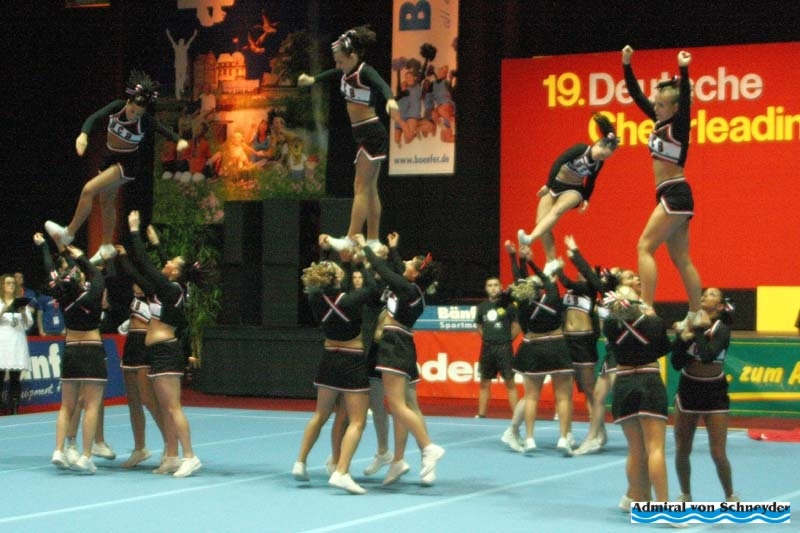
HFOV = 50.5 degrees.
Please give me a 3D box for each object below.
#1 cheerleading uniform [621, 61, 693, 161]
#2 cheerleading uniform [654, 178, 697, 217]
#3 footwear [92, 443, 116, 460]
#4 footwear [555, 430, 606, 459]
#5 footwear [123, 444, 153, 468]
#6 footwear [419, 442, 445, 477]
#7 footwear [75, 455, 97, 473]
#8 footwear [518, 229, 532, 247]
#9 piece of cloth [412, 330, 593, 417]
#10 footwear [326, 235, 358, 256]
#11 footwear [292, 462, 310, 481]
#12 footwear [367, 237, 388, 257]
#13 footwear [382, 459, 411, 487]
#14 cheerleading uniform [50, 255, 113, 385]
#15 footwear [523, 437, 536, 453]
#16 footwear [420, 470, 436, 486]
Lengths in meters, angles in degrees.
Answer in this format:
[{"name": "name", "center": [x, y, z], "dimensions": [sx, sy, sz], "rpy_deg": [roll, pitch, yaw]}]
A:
[{"name": "cheerleading uniform", "center": [3.256, -1.891, 10.479], "dimensions": [0.439, 1.354, 0.901], "rpy_deg": [0, 0, -20]}, {"name": "cheerleading uniform", "center": [3.399, -0.824, 10.594], "dimensions": [0.433, 0.510, 0.773], "rpy_deg": [-1, 1, -1]}, {"name": "footwear", "center": [-4.513, 2.829, 12.969], "dimensions": [0.477, 0.182, 0.193], "rpy_deg": [2, 3, 42]}, {"name": "footwear", "center": [2.783, 2.824, 13.424], "dimensions": [0.992, 0.408, 0.317], "rpy_deg": [12, -21, -33]}, {"name": "footwear", "center": [-3.821, 2.803, 12.422], "dimensions": [0.530, 0.239, 0.205], "rpy_deg": [-28, 21, 18]}, {"name": "footwear", "center": [0.373, 2.538, 11.278], "dimensions": [0.239, 0.304, 0.699], "rpy_deg": [-1, 3, 23]}, {"name": "footwear", "center": [-4.487, 2.808, 12.019], "dimensions": [0.185, 0.187, 0.418], "rpy_deg": [3, -20, 17]}, {"name": "footwear", "center": [1.749, -0.398, 12.014], "dimensions": [0.187, 0.130, 0.421], "rpy_deg": [-33, -25, 3]}, {"name": "piece of cloth", "center": [1.769, 2.089, 17.770], "dimensions": [3.605, 1.532, 0.121], "rpy_deg": [-4, 2, 44]}, {"name": "footwear", "center": [-0.769, -0.266, 11.169], "dimensions": [0.161, 0.219, 0.510], "rpy_deg": [-6, -19, 9]}, {"name": "footwear", "center": [-1.364, 2.781, 11.446], "dimensions": [0.180, 0.197, 0.298], "rpy_deg": [1, -13, 8]}, {"name": "footwear", "center": [-0.300, -0.222, 11.400], "dimensions": [0.291, 0.171, 0.270], "rpy_deg": [-10, -46, 43]}, {"name": "footwear", "center": [-0.015, 2.728, 11.233], "dimensions": [0.228, 0.188, 0.514], "rpy_deg": [27, -43, -21]}, {"name": "cheerleading uniform", "center": [-4.665, 1.132, 12.299], "dimensions": [0.882, 2.574, 0.695], "rpy_deg": [-3, 0, -2]}, {"name": "footwear", "center": [2.026, 2.808, 13.367], "dimensions": [0.150, 0.139, 0.335], "rpy_deg": [0, 0, -2]}, {"name": "footwear", "center": [0.359, 2.810, 11.307], "dimensions": [0.221, 0.159, 0.229], "rpy_deg": [-4, -23, 0]}]
